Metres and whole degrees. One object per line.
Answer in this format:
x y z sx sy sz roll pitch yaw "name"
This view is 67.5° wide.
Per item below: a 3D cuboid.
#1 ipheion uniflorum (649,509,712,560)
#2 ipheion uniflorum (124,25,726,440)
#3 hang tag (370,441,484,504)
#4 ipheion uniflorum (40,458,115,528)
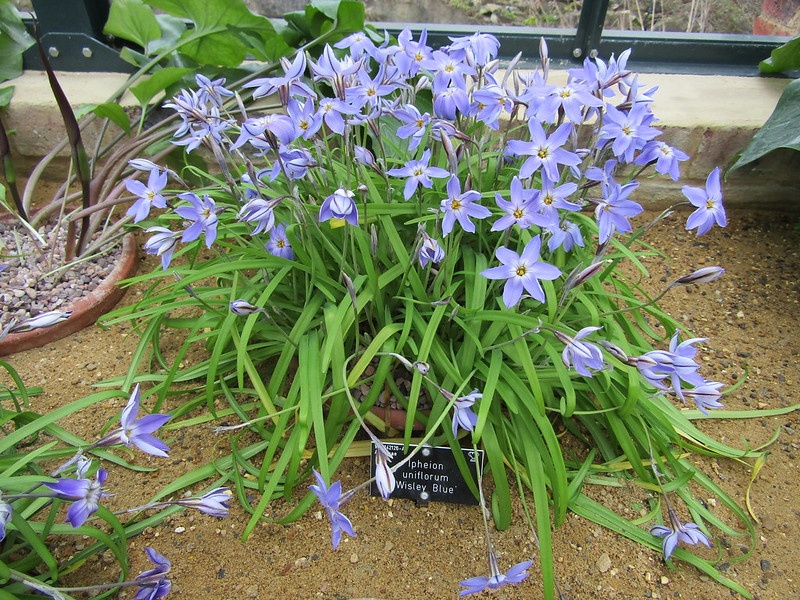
0.863 0.708 1.876 0.163 0.073 0.183 -23 0 41 "ipheion uniflorum"
0.013 -0.198 2.444 1.607 0.998 1.747 -1 62 -8 "ipheion uniflorum"
0.092 0.547 1.904 0.298 0.199 0.012 1 14 2 "hang tag"
-0.817 0.512 1.547 0.136 0.175 0.107 -15 38 -27 "ipheion uniflorum"
